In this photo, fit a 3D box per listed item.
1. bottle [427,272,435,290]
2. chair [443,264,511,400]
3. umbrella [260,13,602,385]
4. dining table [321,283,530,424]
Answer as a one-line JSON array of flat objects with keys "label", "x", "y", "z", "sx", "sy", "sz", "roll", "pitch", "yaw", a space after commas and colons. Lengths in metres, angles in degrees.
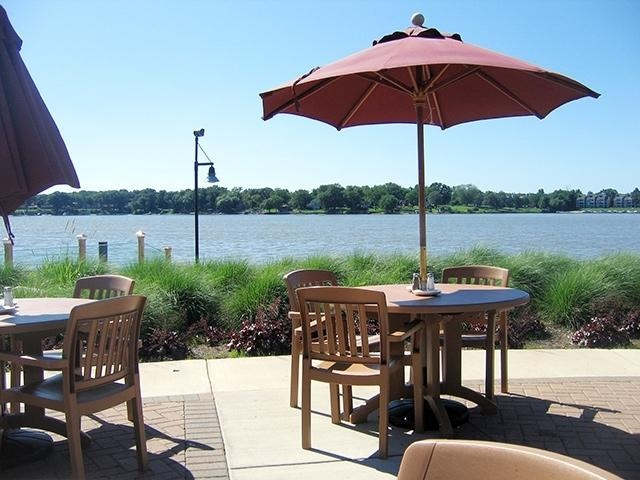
[{"label": "bottle", "x": 0.959, "y": 0.360, "z": 4.705, "sx": 0.071, "sy": 0.144, "sz": 0.164, "roll": 1, "pitch": 3, "yaw": 11}, {"label": "chair", "x": 1.516, "y": 0.939, "z": 5.437, "sx": 0.749, "sy": 1.284, "sz": 0.842, "roll": 0, "pitch": 1, "yaw": 31}, {"label": "umbrella", "x": 0.825, "y": -0.330, "z": 5.538, "sx": 3.102, "sy": 2.681, "sz": 3.042, "roll": -4, "pitch": 5, "yaw": -37}, {"label": "dining table", "x": 1.092, "y": 1.054, "z": 4.908, "sx": 1.318, "sy": 0.923, "sz": 1.404, "roll": 3, "pitch": -2, "yaw": 13}]
